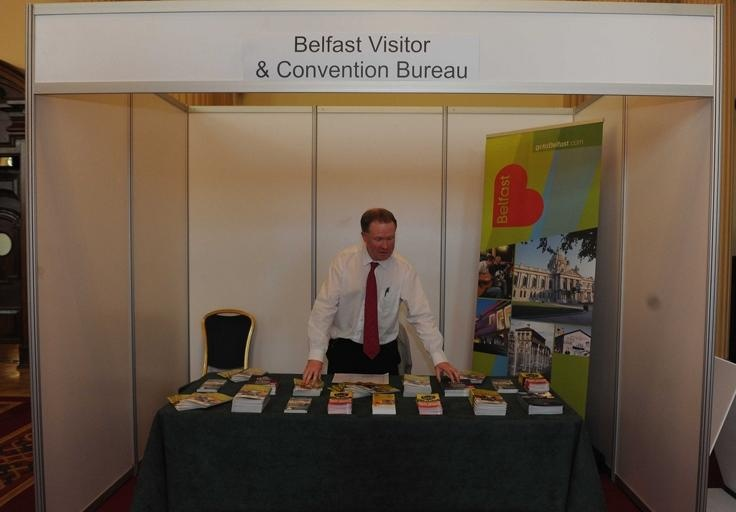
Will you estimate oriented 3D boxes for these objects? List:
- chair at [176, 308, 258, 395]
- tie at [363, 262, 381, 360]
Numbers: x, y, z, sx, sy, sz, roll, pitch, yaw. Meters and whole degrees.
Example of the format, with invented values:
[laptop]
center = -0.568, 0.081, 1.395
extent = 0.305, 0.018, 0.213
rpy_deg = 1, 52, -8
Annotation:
[chair]
center = -1.273, 0.790, 5.434
extent = 0.483, 0.873, 0.606
rpy_deg = 0, -4, -2
[tie]
center = 0.017, 0.392, 4.363
extent = 0.103, 0.691, 0.130
rpy_deg = 1, 4, -1
